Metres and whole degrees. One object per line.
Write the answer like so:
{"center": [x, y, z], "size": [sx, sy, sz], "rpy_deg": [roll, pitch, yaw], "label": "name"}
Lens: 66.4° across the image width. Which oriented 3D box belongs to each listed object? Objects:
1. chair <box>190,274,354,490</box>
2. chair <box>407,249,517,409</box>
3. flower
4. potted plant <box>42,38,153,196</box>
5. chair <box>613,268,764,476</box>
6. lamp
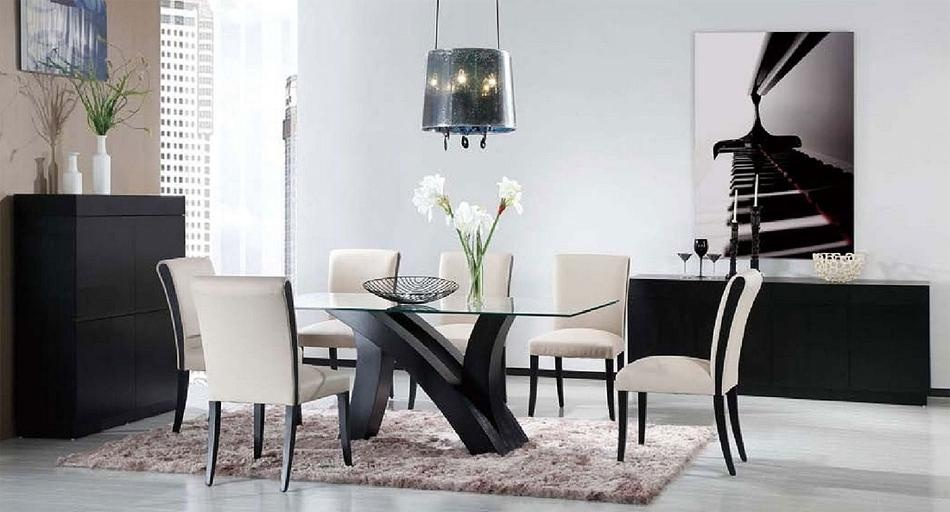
{"center": [-1.567, 0.939, 5.503], "size": [1.004, 1.592, 0.558], "rpy_deg": [-4, 13, -18], "label": "chair"}
{"center": [-0.154, 0.751, 6.939], "size": [0.965, 1.449, 1.139], "rpy_deg": [1, 12, 4], "label": "chair"}
{"center": [-0.022, -0.259, 6.230], "size": [0.740, 0.669, 0.849], "rpy_deg": [0, -4, 27], "label": "flower"}
{"center": [-3.585, -1.238, 6.846], "size": [0.779, 1.118, 0.916], "rpy_deg": [0, 4, 13], "label": "potted plant"}
{"center": [1.698, 0.888, 5.811], "size": [1.138, 1.544, 0.722], "rpy_deg": [0, 13, 0], "label": "chair"}
{"center": [-0.064, -1.550, 6.408], "size": [0.733, 1.145, 1.725], "rpy_deg": [0, 11, -1], "label": "lamp"}
